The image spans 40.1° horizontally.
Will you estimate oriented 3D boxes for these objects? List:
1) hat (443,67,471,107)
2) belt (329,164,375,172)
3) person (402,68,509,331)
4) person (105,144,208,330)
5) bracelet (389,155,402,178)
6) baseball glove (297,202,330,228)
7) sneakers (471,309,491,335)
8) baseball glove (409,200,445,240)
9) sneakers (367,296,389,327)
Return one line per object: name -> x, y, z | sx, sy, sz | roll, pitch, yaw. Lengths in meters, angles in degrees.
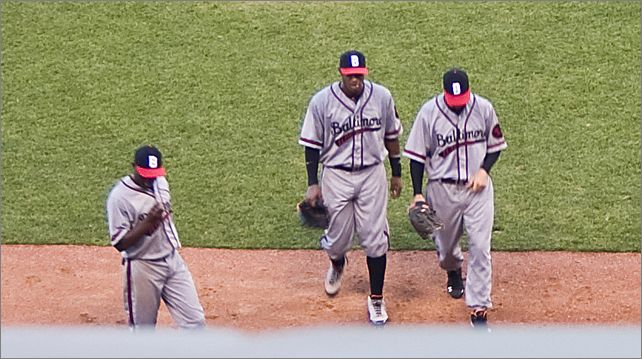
hat -> 1.933, -1.280, 12.381 | 0.388, 0.519, 0.343 | -5, -14, 7
belt -> 0.421, -0.150, 12.492 | 0.661, 0.091, 0.065 | 0, 7, 2
person -> 1.927, 0.243, 12.431 | 1.295, 3.569, 0.776 | 1, 8, 10
person -> -2.257, 0.824, 11.773 | 1.202, 2.498, 0.534 | -1, 8, -12
bracelet -> 1.098, -0.170, 12.693 | 0.099, 0.253, 0.194 | -3, 12, -9
baseball glove -> -0.064, 0.525, 12.730 | 0.459, 0.381, 0.361 | -1, -2, 14
sneakers -> 2.224, 1.965, 12.107 | 0.257, 0.257, 0.659 | -2, 4, -4
baseball glove -> 1.467, 0.592, 12.313 | 0.423, 0.530, 0.176 | -37, -2, -26
sneakers -> 0.801, 1.887, 12.504 | 0.208, 0.184, 0.439 | -6, 39, -9
